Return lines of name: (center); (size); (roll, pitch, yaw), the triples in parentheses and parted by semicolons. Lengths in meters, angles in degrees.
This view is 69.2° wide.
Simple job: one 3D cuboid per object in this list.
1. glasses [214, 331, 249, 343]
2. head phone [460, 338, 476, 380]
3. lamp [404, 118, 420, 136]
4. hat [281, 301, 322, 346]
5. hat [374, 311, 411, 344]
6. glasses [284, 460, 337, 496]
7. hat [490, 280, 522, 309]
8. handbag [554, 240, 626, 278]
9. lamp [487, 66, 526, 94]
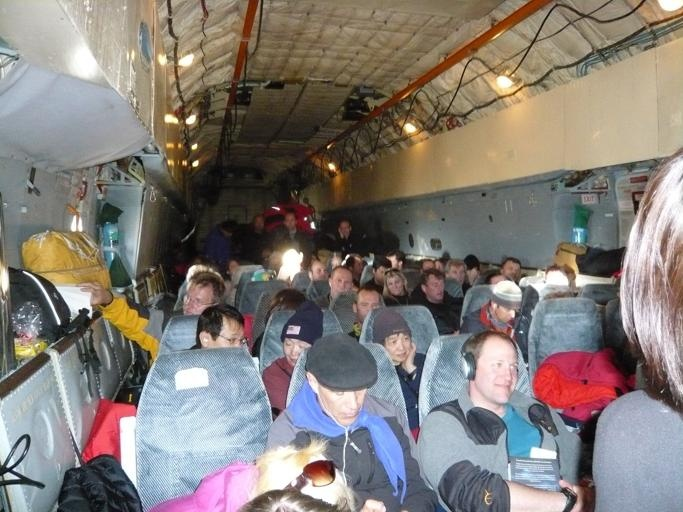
glasses: (-0.825, 0.601, 3.665); (0.148, 0.049, 0.153); (0, -9, 36)
head phone: (0.769, 0.621, 2.960); (0.057, 0.170, 0.134); (-2, -6, 18)
lamp: (1.555, -2.936, 11.373); (0.163, 0.295, 0.632); (-13, 4, -8)
hat: (-0.268, 0.516, 3.835); (0.218, 0.268, 0.308); (-2, -15, 28)
hat: (0.362, 0.560, 3.887); (0.256, 0.248, 0.204); (-18, -17, 38)
glasses: (-0.084, 0.744, 1.648); (0.109, 0.038, 0.097); (-33, -14, 27)
hat: (1.569, 0.368, 4.784); (0.253, 0.209, 0.253); (-11, 22, -39)
handbag: (3.491, 0.050, 6.946); (0.348, 0.273, 0.778); (20, 6, -13)
lamp: (2.578, -2.794, 7.902); (0.338, 0.324, 0.604); (-13, 4, -7)
